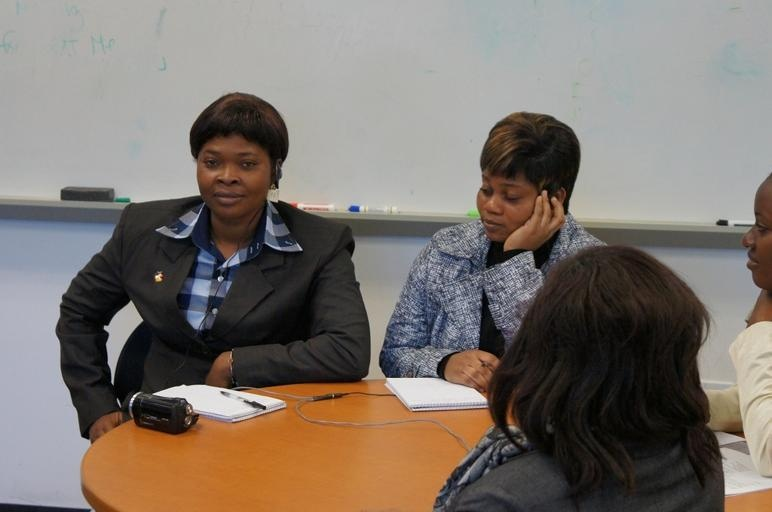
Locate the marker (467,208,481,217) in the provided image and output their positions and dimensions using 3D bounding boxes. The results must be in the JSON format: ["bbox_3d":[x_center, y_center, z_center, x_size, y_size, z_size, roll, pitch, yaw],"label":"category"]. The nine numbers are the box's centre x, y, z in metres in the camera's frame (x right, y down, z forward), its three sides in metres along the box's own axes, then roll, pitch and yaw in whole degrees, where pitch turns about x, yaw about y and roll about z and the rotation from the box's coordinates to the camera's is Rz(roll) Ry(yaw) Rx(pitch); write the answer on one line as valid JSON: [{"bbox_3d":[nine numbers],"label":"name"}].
[{"bbox_3d":[0.345,-0.172,2.501,0.043,0.022,0.043,-1,46,20],"label":"marker"}]

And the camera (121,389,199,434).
[{"bbox_3d":[-0.561,0.393,1.621,0.167,0.085,0.076,2,43,17],"label":"camera"}]

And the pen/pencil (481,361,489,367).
[{"bbox_3d":[0.299,0.326,1.922,0.017,0.017,0.015,-6,9,-28],"label":"pen/pencil"}]
